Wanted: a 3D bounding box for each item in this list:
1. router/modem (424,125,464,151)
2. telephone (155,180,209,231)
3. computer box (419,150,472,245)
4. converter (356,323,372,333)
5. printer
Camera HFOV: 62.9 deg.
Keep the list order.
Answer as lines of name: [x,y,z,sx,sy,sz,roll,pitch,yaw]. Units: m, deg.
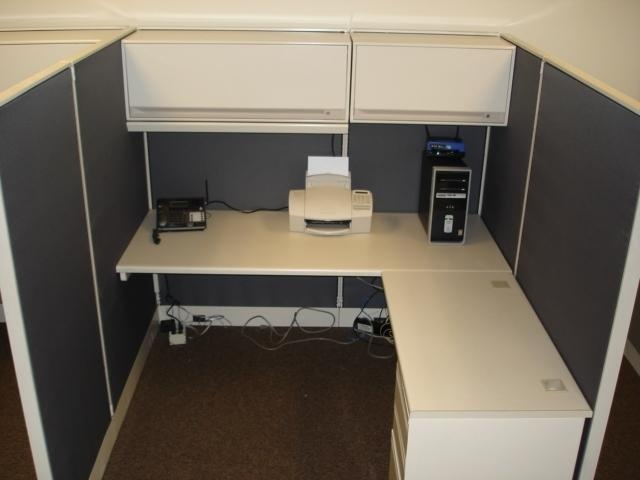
router/modem: [0.710,-0.613,2.957,0.164,0.135,0.175,2,31,3]
telephone: [-0.794,-0.146,2.965,0.311,0.230,0.171,1,21,-5]
computer box: [0.645,-0.235,2.897,0.249,0.516,0.278,4,20,2]
converter: [0.291,0.571,3.381,0.079,0.050,0.022,3,-17,8]
printer: [0.057,-0.191,2.905,0.379,0.346,0.305,2,23,-1]
